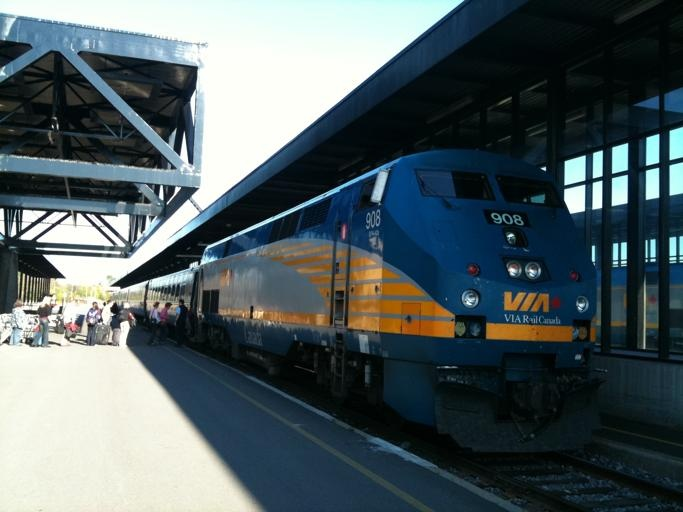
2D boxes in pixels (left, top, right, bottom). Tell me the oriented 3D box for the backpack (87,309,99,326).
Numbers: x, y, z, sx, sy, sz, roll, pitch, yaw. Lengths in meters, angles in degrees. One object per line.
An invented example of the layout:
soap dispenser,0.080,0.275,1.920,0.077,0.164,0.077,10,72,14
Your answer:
backpack,-10.087,2.430,20.219,0.388,0.564,0.209,-2,-30,-13

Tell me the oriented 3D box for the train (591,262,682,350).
train,5.789,0.942,9.524,0.358,1.621,1.571,5,-3,-27
